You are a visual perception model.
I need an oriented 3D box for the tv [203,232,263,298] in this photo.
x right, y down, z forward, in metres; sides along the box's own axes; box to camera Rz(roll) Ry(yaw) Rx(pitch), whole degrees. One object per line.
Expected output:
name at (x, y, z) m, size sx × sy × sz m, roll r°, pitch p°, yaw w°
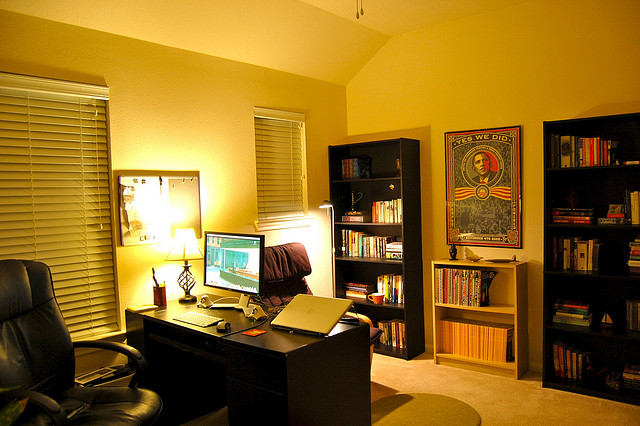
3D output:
tv at (-0.806, 0.457, 4.314) m, size 0.069 × 0.542 × 0.784 m, roll -10°, pitch -14°, yaw 31°

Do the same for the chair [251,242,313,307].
chair at (-0.381, 0.647, 4.999) m, size 0.624 × 0.553 × 0.566 m, roll -5°, pitch -16°, yaw -3°

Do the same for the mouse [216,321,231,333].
mouse at (-0.766, 0.888, 3.786) m, size 0.141 × 0.058 × 0.096 m, roll 5°, pitch 12°, yaw 37°

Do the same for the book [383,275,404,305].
book at (0.865, 0.857, 5.655) m, size 0.279 × 0.367 × 0.386 m, roll 0°, pitch -2°, yaw 27°

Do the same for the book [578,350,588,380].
book at (2.550, 1.483, 4.651) m, size 0.208 × 0.196 × 0.048 m, roll -3°, pitch 3°, yaw -42°

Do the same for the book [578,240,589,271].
book at (2.540, 0.406, 4.616) m, size 0.092 × 0.262 × 0.281 m, roll 0°, pitch 4°, yaw 28°

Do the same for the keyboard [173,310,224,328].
keyboard at (-1.028, 0.881, 4.043) m, size 0.485 × 0.042 × 0.228 m, roll 5°, pitch 11°, yaw 36°
